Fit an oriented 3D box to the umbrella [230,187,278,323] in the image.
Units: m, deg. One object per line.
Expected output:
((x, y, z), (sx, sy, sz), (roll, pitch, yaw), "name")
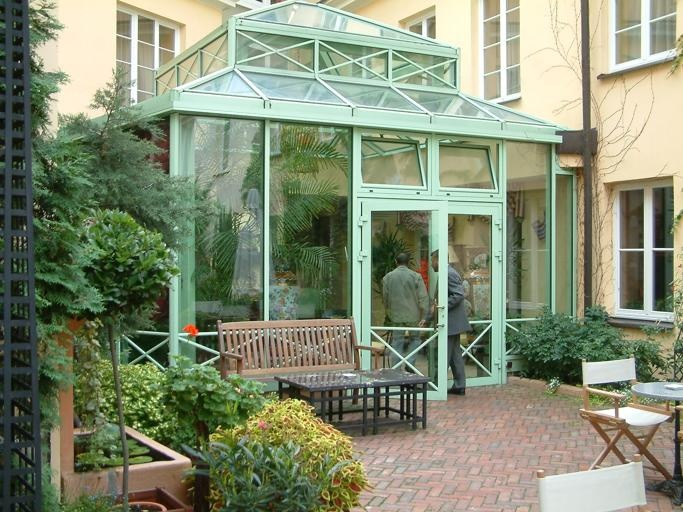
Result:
((-1.226, -0.026, 8.835), (0.406, 1.701, 0.154), (-1, 2, -9), "umbrella")

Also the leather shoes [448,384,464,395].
((1.674, 1.935, 9.720), (0.098, 0.118, 0.264), (-2, 6, -41), "leather shoes")

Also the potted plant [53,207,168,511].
((-1.547, 0.741, 4.998), (0.649, 2.171, 1.058), (-1, 2, -16), "potted plant")

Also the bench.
((-0.641, 1.287, 8.340), (1.779, 0.904, 0.584), (-1, 4, -12), "bench")

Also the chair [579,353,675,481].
((2.757, 1.568, 6.424), (0.804, 1.018, 0.774), (-2, 1, -5), "chair")
